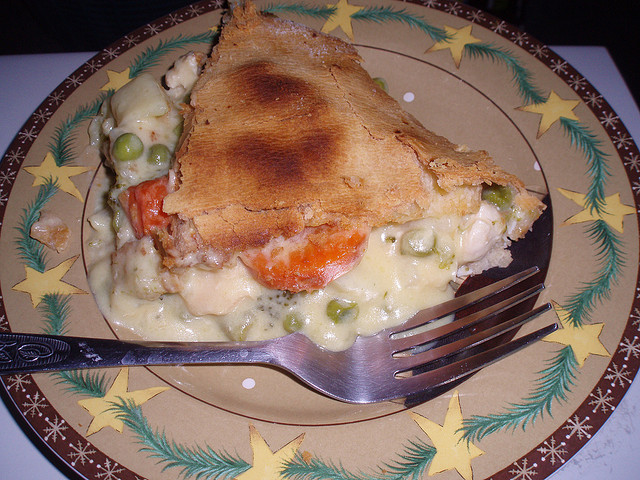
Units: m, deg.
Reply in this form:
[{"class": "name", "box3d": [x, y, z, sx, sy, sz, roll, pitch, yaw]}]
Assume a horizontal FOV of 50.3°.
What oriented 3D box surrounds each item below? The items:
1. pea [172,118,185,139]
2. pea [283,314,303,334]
[{"class": "pea", "box3d": [-0.936, -0.737, 4.524, 0.073, 0.033, 0.140, 27, 96, 6]}, {"class": "pea", "box3d": [-0.181, 0.537, 4.364, 0.092, 0.045, 0.121, -10, 70, -17]}]
